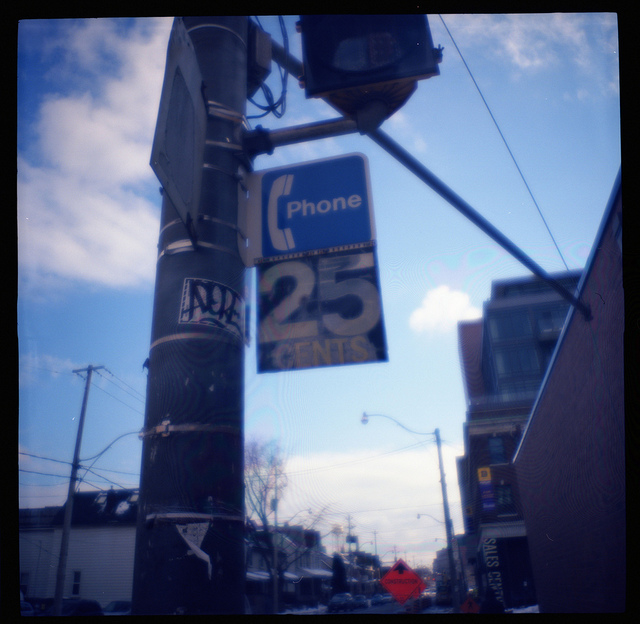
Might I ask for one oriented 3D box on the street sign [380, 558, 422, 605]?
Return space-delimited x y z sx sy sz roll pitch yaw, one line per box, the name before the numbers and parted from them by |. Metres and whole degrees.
street sign | 1.120 3.687 8.423 0.610 0.765 0.028 -2 15 7
